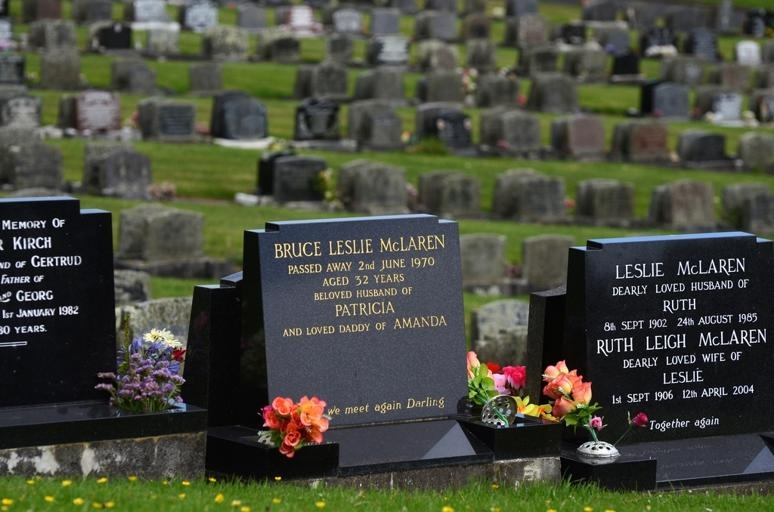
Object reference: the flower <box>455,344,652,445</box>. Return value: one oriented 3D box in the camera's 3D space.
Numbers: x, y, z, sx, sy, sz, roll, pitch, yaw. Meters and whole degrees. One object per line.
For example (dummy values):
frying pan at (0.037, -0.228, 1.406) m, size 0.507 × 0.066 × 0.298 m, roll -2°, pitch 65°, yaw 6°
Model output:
flower at (1.233, 1.163, 15.266) m, size 1.084 × 0.599 × 0.872 m, roll 15°, pitch -19°, yaw -15°

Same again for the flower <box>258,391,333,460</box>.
flower at (-0.697, 1.288, 14.798) m, size 0.615 × 0.346 × 0.674 m, roll -18°, pitch 41°, yaw 19°

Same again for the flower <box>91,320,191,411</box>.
flower at (-1.929, 0.936, 15.171) m, size 0.687 × 0.550 × 0.754 m, roll 6°, pitch 15°, yaw 26°
